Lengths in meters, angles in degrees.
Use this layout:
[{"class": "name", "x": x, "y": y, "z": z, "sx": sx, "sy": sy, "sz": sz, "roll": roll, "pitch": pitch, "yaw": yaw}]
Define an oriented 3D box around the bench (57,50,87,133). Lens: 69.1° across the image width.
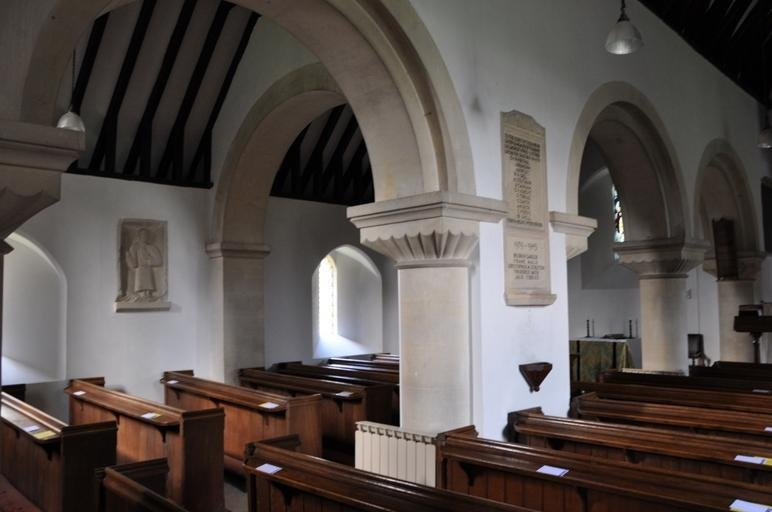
[{"class": "bench", "x": -3.767, "y": -2.019, "z": 6.771, "sx": 0.250, "sy": 0.964, "sz": 0.246, "roll": 2, "pitch": 8, "yaw": -38}]
